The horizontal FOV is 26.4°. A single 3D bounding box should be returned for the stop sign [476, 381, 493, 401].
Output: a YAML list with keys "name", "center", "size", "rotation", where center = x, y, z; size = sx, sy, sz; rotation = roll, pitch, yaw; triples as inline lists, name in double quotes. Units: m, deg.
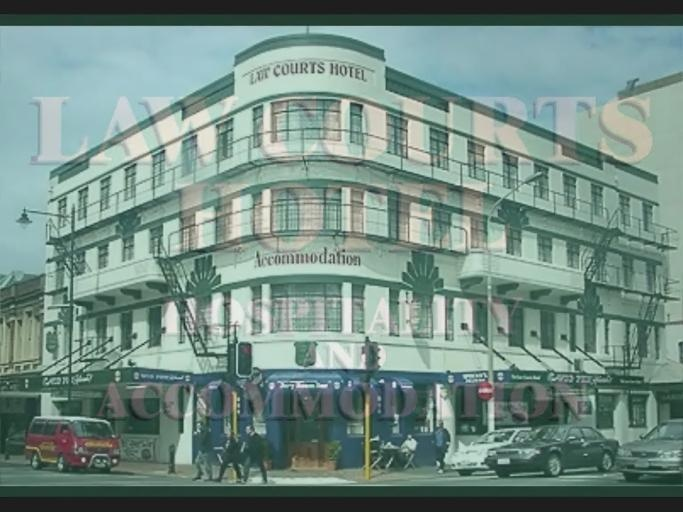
- name: "stop sign"
  center: [6.871, 6.195, 68.765]
  size: [0.680, 0.934, 1.793]
  rotation: [-1, -14, -3]

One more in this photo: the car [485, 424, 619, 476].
- name: "car"
  center: [9.067, 7.914, 60.660]
  size: [6.428, 1.970, 2.914]
  rotation: [4, -10, -40]

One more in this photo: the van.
- name: "van"
  center: [-11.404, 7.766, 61.725]
  size: [2.847, 2.197, 4.698]
  rotation: [5, -7, -40]
